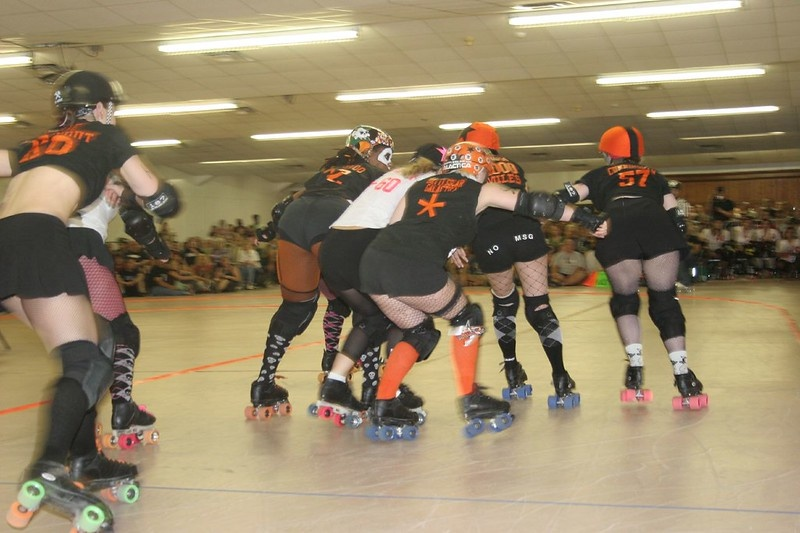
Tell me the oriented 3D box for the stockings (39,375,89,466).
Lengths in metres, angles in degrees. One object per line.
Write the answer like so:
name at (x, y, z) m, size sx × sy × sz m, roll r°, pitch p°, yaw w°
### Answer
stockings at (-1.433, 0.640, 2.473) m, size 0.171 × 0.326 × 0.238 m, roll -4°, pitch 4°, yaw -3°

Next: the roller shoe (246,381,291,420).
roller shoe at (-0.931, 0.922, 4.104) m, size 0.250 × 0.204 × 0.367 m, roll -6°, pitch -12°, yaw 15°

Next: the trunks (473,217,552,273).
trunks at (0.797, -0.154, 4.254) m, size 0.651 × 0.313 × 0.292 m, roll -10°, pitch 10°, yaw 21°

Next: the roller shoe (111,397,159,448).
roller shoe at (-1.681, 0.962, 3.681) m, size 0.261 × 0.213 × 0.400 m, roll -5°, pitch -8°, yaw 11°

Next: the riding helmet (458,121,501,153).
riding helmet at (0.553, -0.898, 4.117) m, size 0.288 × 0.155 × 0.346 m, roll 9°, pitch 15°, yaw 4°

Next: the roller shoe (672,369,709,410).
roller shoe at (1.993, 0.853, 4.047) m, size 0.192 × 0.187 × 0.324 m, roll -9°, pitch -3°, yaw 27°

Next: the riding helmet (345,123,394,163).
riding helmet at (-0.198, -0.916, 4.410) m, size 0.457 × 0.234 × 0.250 m, roll 0°, pitch 15°, yaw -14°

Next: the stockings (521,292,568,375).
stockings at (1.066, 0.484, 4.303) m, size 0.278 × 0.600 × 0.241 m, roll -27°, pitch -3°, yaw 8°

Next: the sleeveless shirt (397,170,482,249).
sleeveless shirt at (0.313, -0.307, 3.514) m, size 0.561 × 0.443 × 0.205 m, roll 14°, pitch -17°, yaw 22°

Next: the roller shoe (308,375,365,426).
roller shoe at (-0.389, 0.909, 3.938) m, size 0.244 × 0.237 × 0.452 m, roll -6°, pitch -27°, yaw 42°

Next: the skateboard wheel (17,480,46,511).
skateboard wheel at (-1.470, 0.907, 2.344) m, size 0.098 × 0.129 × 0.067 m, roll -5°, pitch 4°, yaw -24°

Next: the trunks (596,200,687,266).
trunks at (1.726, -0.264, 4.301) m, size 0.851 × 0.399 × 0.345 m, roll 0°, pitch 16°, yaw 9°

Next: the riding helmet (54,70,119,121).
riding helmet at (-1.594, -0.894, 2.996) m, size 0.363 × 0.204 × 0.219 m, roll -13°, pitch 40°, yaw -32°

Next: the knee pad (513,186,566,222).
knee pad at (0.794, -0.345, 3.409) m, size 0.323 × 0.168 × 0.180 m, roll -3°, pitch 3°, yaw -9°

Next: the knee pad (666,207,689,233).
knee pad at (1.985, -0.329, 4.250) m, size 0.173 × 0.159 × 0.084 m, roll -4°, pitch -15°, yaw -42°

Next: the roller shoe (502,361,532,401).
roller shoe at (0.888, 0.883, 4.503) m, size 0.197 × 0.176 × 0.316 m, roll -8°, pitch 2°, yaw 16°

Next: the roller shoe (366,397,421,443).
roller shoe at (-0.049, 0.937, 3.566) m, size 0.490 × 0.154 × 0.180 m, roll -1°, pitch 4°, yaw -28°

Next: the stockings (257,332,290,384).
stockings at (-0.862, 0.623, 4.087) m, size 0.205 × 0.330 × 0.233 m, roll -3°, pitch 4°, yaw 5°

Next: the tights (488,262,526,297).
tights at (0.805, 0.110, 4.491) m, size 0.308 × 0.209 × 0.257 m, roll -2°, pitch -6°, yaw -2°

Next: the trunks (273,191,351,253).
trunks at (-0.575, -0.228, 4.118) m, size 0.599 × 0.507 × 0.388 m, roll 1°, pitch -2°, yaw 6°

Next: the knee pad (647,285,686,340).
knee pad at (1.904, 0.343, 4.201) m, size 0.226 × 0.377 × 0.214 m, roll -2°, pitch 4°, yaw 18°

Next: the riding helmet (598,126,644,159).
riding helmet at (1.699, -0.954, 4.509) m, size 0.365 × 0.210 × 0.307 m, roll -5°, pitch 24°, yaw -5°
